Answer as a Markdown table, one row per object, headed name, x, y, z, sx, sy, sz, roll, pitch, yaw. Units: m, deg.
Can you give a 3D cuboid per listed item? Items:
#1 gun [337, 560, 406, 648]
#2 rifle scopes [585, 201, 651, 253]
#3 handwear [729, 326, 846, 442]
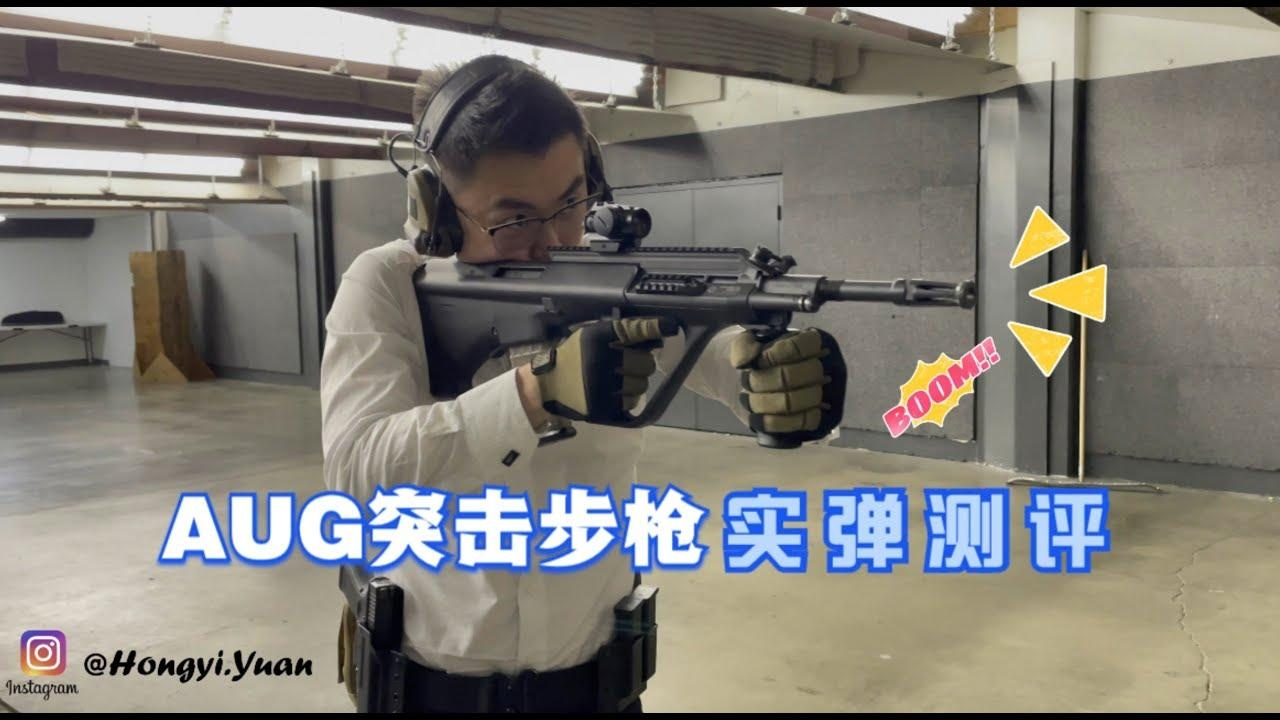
| name | x | y | z | sx | sy | sz | roll | pitch | yaw |
| --- | --- | --- | --- | --- | --- | --- | --- | --- | --- |
| gun | -1.434 | 1.280 | 5.225 | 0.213 | 0.517 | 0.268 | 2 | 0 | -26 |
| rifle scopes | -0.120 | -0.697 | 5.231 | 0.293 | 0.161 | 0.307 | -1 | 1 | 30 |
| handwear | 0.783 | 0.142 | 5.084 | 0.567 | 0.611 | 0.195 | 0 | 0 | 10 |
